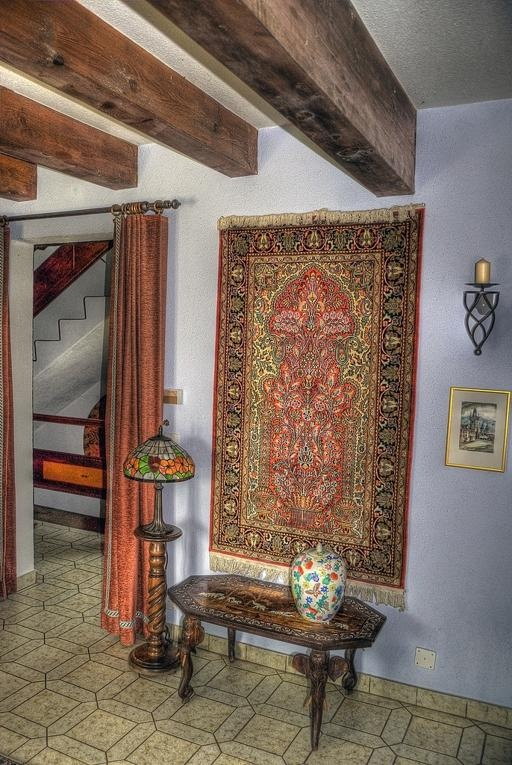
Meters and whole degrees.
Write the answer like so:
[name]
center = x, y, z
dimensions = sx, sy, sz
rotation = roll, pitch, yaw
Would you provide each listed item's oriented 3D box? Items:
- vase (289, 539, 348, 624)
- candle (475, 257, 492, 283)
[vase]
center = 0.262, 0.824, 2.706
dimensions = 0.259, 0.279, 0.254
rotation = 2, -2, -42
[candle]
center = 0.871, -0.422, 2.497
dimensions = 0.050, 0.095, 0.022
rotation = 4, 4, 32
